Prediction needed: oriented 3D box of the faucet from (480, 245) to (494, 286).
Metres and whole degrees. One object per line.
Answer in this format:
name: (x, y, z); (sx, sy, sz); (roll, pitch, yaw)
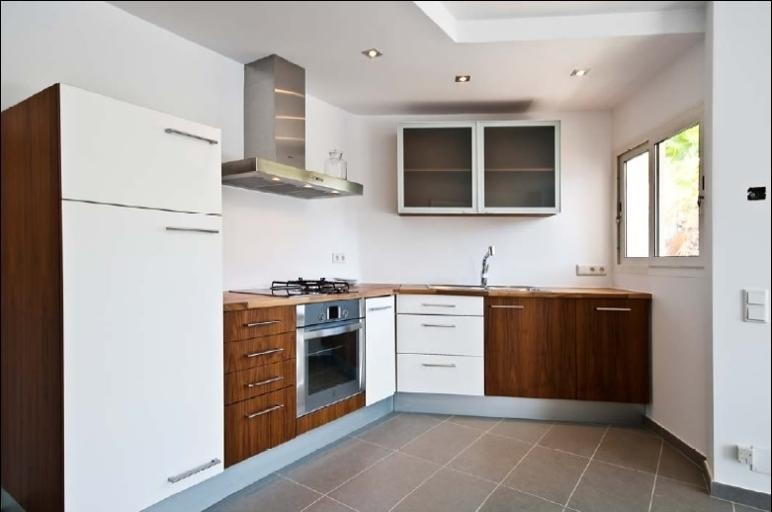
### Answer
faucet: (0.975, 0.093, 5.034); (0.133, 0.424, 0.400); (2, 12, 11)

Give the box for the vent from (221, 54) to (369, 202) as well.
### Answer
vent: (-0.772, -1.060, 4.212); (0.548, 0.935, 1.139); (4, 3, 35)

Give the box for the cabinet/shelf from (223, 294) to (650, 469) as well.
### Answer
cabinet/shelf: (0.478, 0.793, 4.176); (3.338, 1.275, 0.943); (-3, 12, -16)

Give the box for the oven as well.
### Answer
oven: (-0.583, 0.734, 4.092); (0.547, 0.781, 0.698); (2, 3, 39)
